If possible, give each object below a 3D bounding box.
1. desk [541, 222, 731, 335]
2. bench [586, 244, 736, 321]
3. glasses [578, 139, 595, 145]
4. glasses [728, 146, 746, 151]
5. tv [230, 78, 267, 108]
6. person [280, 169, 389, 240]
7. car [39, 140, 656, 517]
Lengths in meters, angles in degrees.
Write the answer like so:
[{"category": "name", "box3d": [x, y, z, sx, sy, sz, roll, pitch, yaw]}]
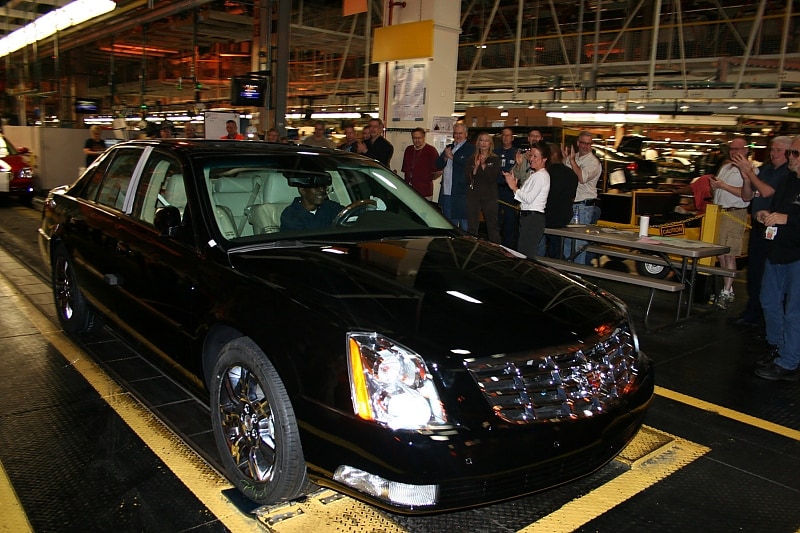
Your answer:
[{"category": "desk", "box3d": [3.151, -0.050, 7.629, 1.719, 0.674, 2.260, -11, 18, -34]}, {"category": "bench", "box3d": [3.690, 0.261, 7.238, 1.678, 0.565, 1.574, -10, 16, -35]}, {"category": "glasses", "box3d": [3.262, -2.222, 9.249, 0.161, 0.058, 0.183, 2, 1, 14]}, {"category": "glasses", "box3d": [4.293, -1.523, 6.683, 0.141, 0.030, 0.116, 3, 3, -7]}, {"category": "tv", "box3d": [-3.304, -3.868, 11.539, 0.899, 0.608, 0.434, -7, 26, -38]}, {"category": "person", "box3d": [-0.549, -0.495, 4.048, 0.623, 0.294, 0.732, -2, 8, -33]}, {"category": "car", "box3d": [-1.050, -0.242, 4.778, 2.613, 1.356, 5.809, -17, 29, -40]}]
